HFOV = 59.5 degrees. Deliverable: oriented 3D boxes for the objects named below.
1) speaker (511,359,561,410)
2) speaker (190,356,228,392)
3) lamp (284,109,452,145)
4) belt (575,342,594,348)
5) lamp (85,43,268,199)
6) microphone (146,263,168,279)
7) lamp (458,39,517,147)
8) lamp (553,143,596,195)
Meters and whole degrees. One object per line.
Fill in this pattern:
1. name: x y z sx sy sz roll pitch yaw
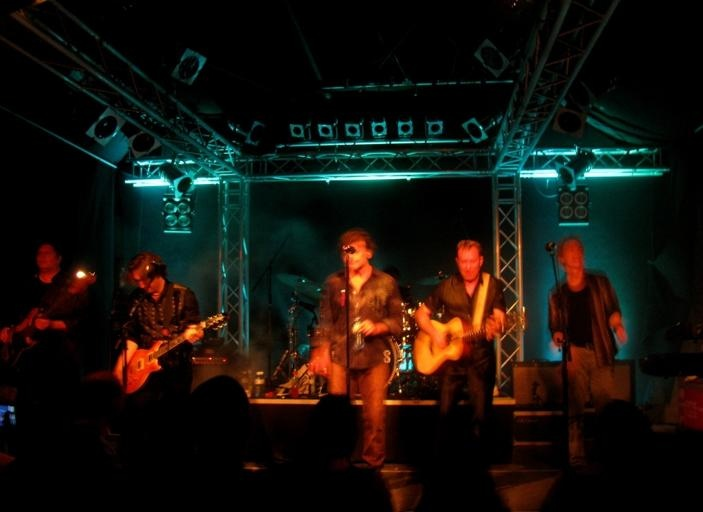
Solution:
1. speaker: 2.895 2.135 9.793 0.836 0.793 0.656 4 -21 -5
2. speaker: -2.202 1.765 9.279 0.508 0.470 0.122 2 -5 -1
3. lamp: 0.312 -2.374 11.567 2.993 0.500 0.601 -2 -12 3
4. belt: 3.049 1.165 8.086 0.203 0.087 0.027 -4 -12 10
5. lamp: -2.954 -2.079 10.807 0.838 0.858 5.035 -6 -23 16
6. microphone: -2.492 0.190 7.971 0.089 0.215 0.359 -5 -12 20
7. lamp: 2.338 -2.904 10.637 0.901 1.235 2.088 -3 -12 10
8. lamp: 4.105 -1.635 11.350 0.403 0.732 0.641 10 -16 -43
